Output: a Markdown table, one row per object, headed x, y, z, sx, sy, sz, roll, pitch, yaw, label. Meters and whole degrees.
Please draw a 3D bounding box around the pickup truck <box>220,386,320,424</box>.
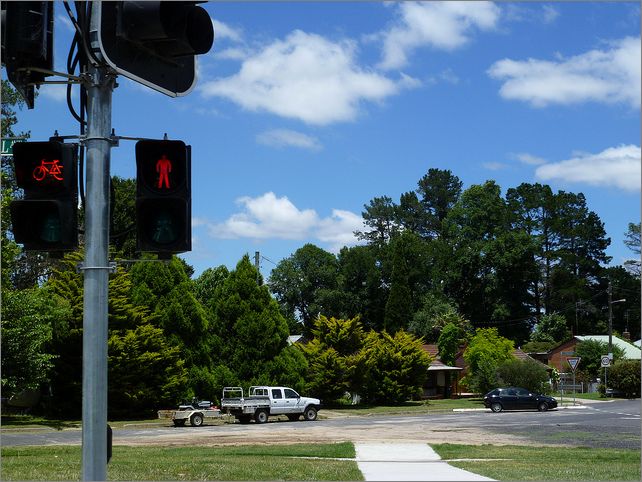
| x | y | z | sx | sy | sz | roll | pitch | yaw | label |
| --- | --- | --- | --- | --- | --- | --- | --- | --- | --- |
| -2.909 | 8.730 | 48.645 | 4.645 | 1.646 | 2.274 | 0 | -1 | -36 | pickup truck |
